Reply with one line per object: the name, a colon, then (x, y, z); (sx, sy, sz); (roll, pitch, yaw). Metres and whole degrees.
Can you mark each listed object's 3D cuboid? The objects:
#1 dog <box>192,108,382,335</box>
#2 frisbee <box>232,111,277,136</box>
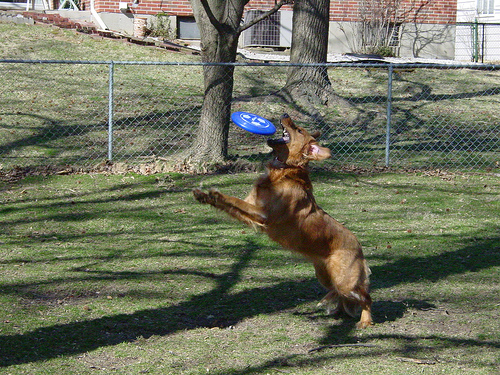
dog: (0.688, 0.440, 8.860); (2.020, 2.775, 0.812); (0, 10, 5)
frisbee: (0.012, -0.939, 9.648); (0.704, 0.494, 0.121); (10, -51, -26)
